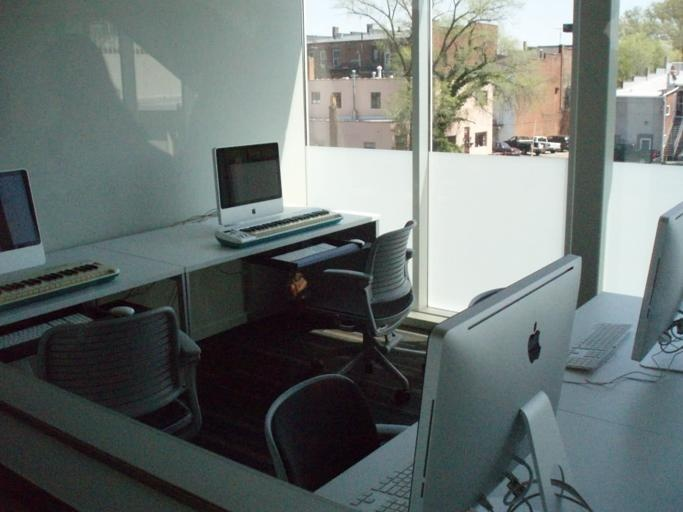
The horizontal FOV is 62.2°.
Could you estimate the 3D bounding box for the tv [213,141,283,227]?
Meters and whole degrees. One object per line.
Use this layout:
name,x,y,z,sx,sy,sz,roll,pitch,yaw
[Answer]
tv,-0.571,-0.434,3.488,0.051,0.449,0.499,-2,10,34

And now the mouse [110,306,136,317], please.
mouse,-1.016,0.258,2.627,0.067,0.029,0.054,2,10,-10
